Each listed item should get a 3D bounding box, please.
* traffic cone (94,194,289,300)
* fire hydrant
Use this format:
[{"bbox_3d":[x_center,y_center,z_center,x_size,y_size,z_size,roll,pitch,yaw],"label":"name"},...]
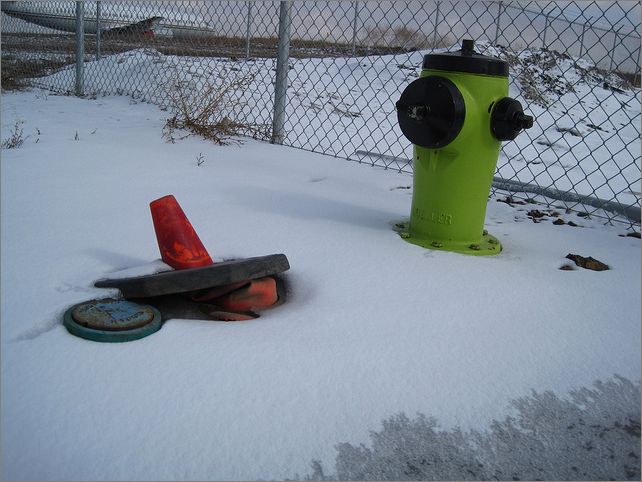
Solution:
[{"bbox_3d":[-0.481,0.006,1.844,0.553,0.378,0.632,12,17,31],"label":"traffic cone"},{"bbox_3d":[0.616,-0.385,2.325,0.575,0.986,0.565,11,19,34],"label":"fire hydrant"}]
